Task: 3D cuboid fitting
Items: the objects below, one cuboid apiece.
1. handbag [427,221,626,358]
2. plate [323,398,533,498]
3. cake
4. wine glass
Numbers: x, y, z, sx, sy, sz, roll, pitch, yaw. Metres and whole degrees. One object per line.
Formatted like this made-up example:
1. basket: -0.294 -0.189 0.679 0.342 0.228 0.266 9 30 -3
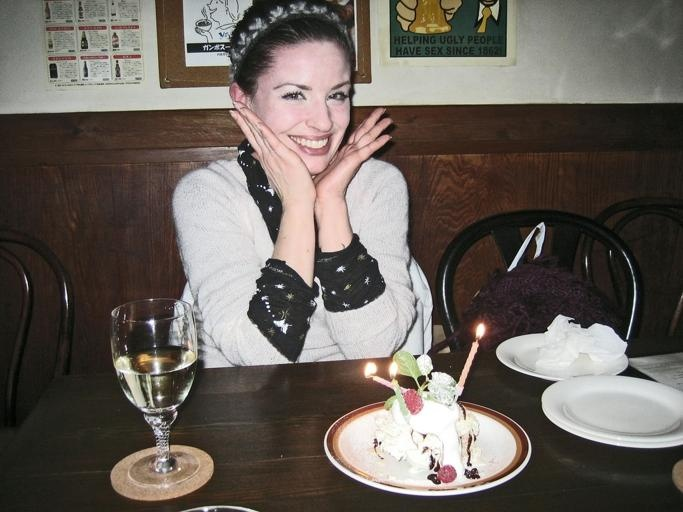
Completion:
1. handbag: 0.542 0.113 1.664 0.337 0.409 0.330 -9 53 18
2. plate: 0.147 0.330 1.020 0.353 0.059 0.215 -2 14 -1
3. cake: 0.140 0.274 1.044 0.197 0.195 0.162 1 14 31
4. wine glass: -0.332 0.226 1.059 0.146 0.280 0.241 -8 15 -22
